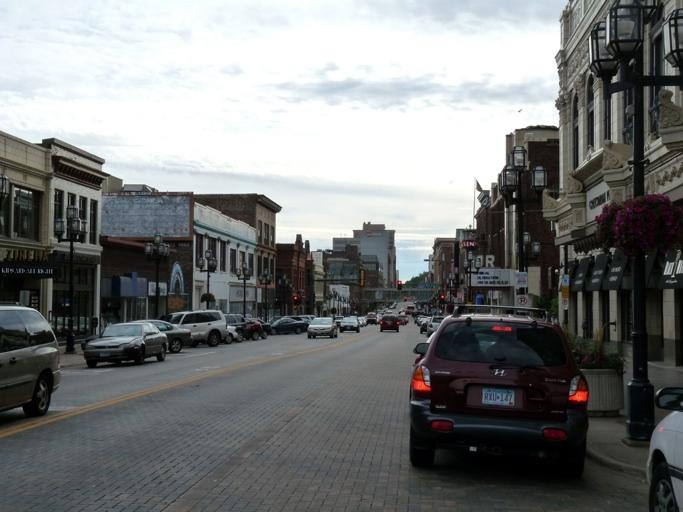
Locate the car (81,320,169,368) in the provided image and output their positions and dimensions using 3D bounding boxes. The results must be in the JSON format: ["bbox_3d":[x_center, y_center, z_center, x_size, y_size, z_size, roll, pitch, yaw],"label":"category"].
[{"bbox_3d":[-8.607,3.552,29.944,2.118,1.773,5.097,-4,-6,2],"label":"car"}]

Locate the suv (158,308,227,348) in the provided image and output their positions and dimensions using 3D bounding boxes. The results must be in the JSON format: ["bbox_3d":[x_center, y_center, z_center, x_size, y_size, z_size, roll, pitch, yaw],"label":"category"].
[{"bbox_3d":[-9.055,4.414,43.367,2.129,2.310,5.076,-6,-5,36],"label":"suv"}]

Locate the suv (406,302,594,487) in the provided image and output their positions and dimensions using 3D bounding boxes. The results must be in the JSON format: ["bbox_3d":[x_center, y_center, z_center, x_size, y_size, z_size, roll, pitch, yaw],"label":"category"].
[{"bbox_3d":[2.317,1.941,11.320,1.953,2.713,4.231,0,-4,7],"label":"suv"}]
